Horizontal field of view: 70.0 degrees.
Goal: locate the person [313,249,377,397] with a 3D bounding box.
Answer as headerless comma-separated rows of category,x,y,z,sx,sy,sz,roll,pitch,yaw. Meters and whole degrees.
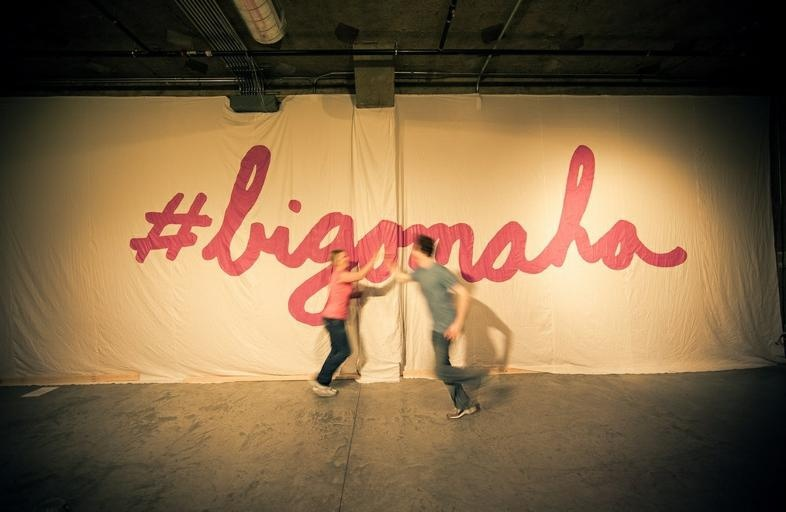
person,-0.752,1.013,8.410,0.732,2.147,0.480,5,-9,-15

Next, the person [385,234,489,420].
person,0.750,0.981,7.601,0.983,2.421,0.657,9,-11,-37

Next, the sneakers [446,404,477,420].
sneakers,0.989,2.129,7.795,0.468,0.168,0.171,-9,-2,-10
